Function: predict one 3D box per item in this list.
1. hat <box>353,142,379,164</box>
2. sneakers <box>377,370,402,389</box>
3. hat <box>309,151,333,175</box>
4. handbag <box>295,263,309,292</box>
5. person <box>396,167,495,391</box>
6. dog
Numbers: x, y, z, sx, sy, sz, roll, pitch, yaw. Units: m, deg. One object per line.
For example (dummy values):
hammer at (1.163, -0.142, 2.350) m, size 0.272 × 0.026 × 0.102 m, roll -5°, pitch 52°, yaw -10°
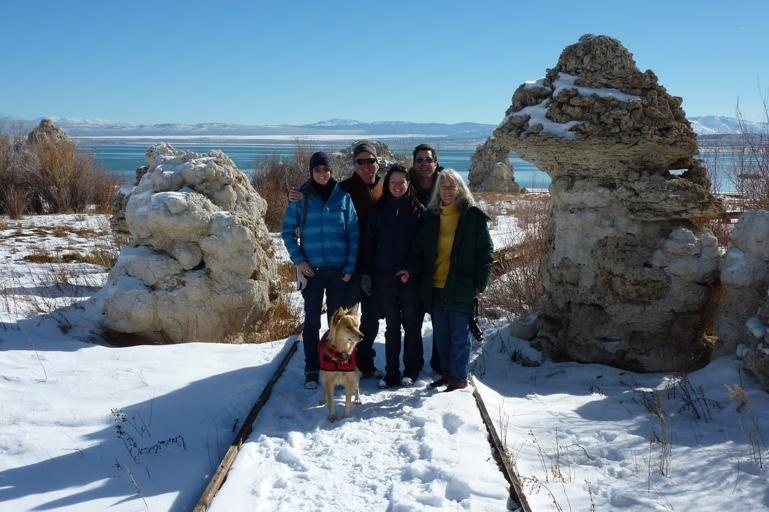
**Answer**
hat at (-0.336, -1.723, 10.192) m, size 0.334 × 0.389 × 0.476 m, roll 1°, pitch 10°, yaw 4°
sneakers at (0.091, 2.074, 10.220) m, size 0.195 × 0.210 × 0.453 m, roll -5°, pitch -11°, yaw 39°
hat at (-1.068, -1.557, 10.087) m, size 0.268 × 0.314 × 0.345 m, roll 0°, pitch 1°, yaw -12°
handbag at (-1.363, 0.369, 9.997) m, size 0.137 × 0.447 × 0.245 m, roll -7°, pitch 8°, yaw -40°
person at (1.095, 0.367, 9.933) m, size 1.307 × 3.564 × 0.576 m, roll 0°, pitch 7°, yaw 10°
dog at (-0.697, 1.627, 9.640) m, size 0.660 × 1.715 × 0.817 m, roll -2°, pitch 6°, yaw -7°
